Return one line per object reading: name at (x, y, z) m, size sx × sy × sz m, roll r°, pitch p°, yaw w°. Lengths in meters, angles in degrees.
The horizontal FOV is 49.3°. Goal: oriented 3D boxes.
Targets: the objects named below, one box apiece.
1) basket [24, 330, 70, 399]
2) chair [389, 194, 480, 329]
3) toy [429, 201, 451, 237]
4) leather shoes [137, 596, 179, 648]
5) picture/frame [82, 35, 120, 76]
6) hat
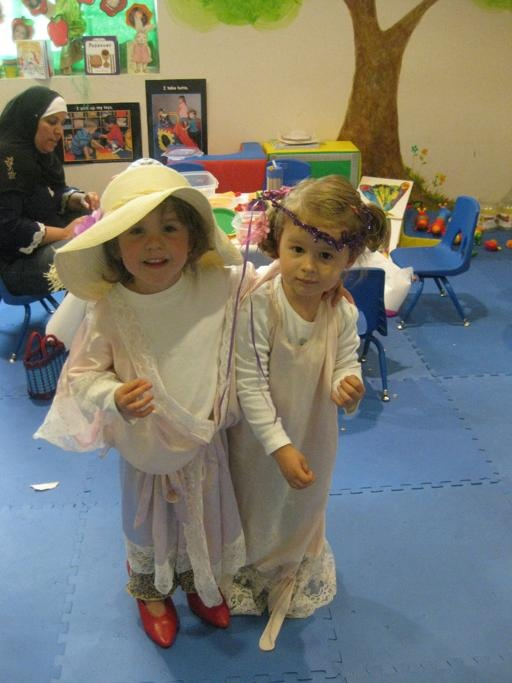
basket at (-0.888, 0.099, 2.352) m, size 0.141 × 0.283 × 0.229 m, roll 5°, pitch 26°, yaw 1°
chair at (1.074, -0.483, 3.409) m, size 0.524 × 0.675 × 0.507 m, roll -8°, pitch 19°, yaw -9°
toy at (1.503, -0.984, 4.551) m, size 0.199 × 0.098 × 0.273 m, roll 16°, pitch 47°, yaw 11°
leather shoes at (-0.262, 0.713, 1.469) m, size 0.065 × 0.039 × 0.155 m, roll -16°, pitch 55°, yaw -29°
picture/frame at (-1.242, -2.267, 4.398) m, size 0.371 × 0.361 × 0.016 m, roll -3°, pitch 35°, yaw -17°
hat at (-0.189, -0.189, 1.014) m, size 0.192 × 0.248 × 0.333 m, roll 21°, pitch 31°, yaw 30°
